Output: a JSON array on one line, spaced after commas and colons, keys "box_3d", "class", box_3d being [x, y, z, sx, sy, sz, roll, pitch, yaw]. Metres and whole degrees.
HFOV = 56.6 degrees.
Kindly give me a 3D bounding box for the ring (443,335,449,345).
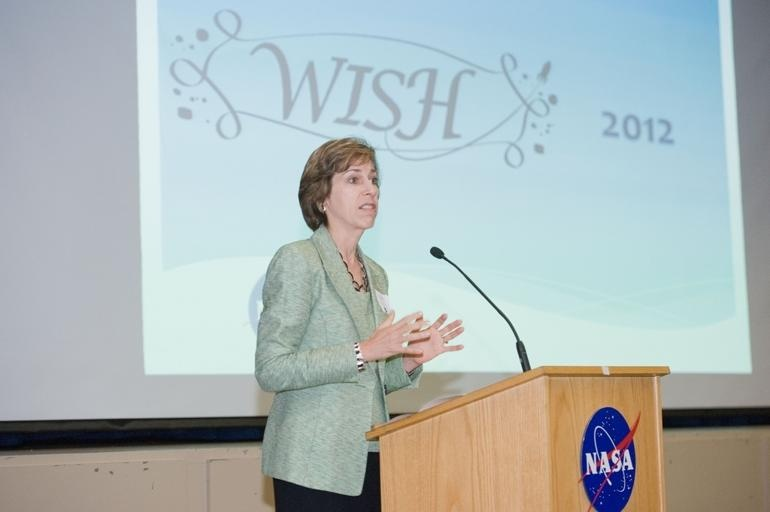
[{"box_3d": [0.229, 0.320, 2.694, 0.013, 0.023, 0.040, 16, -10, 3], "class": "ring"}]
